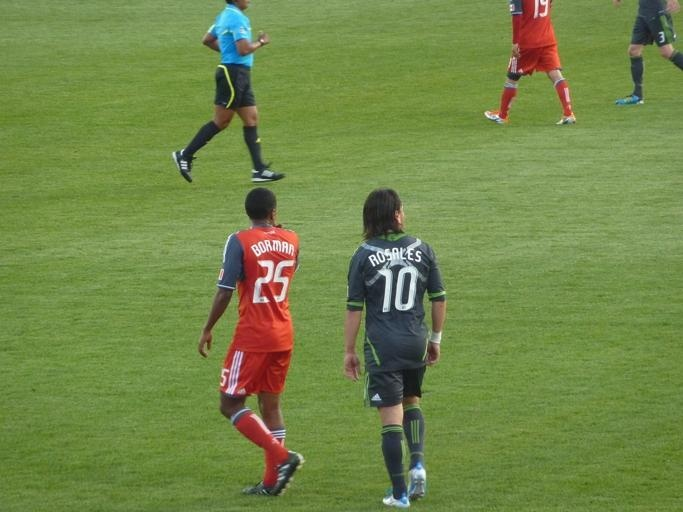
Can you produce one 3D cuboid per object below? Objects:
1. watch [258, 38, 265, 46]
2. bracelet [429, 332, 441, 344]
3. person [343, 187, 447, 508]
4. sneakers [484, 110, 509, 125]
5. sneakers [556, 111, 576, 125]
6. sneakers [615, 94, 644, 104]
[{"bbox_3d":[-0.960,-2.645,20.034,0.026,0.080,0.078,-12,58,-8],"label":"watch"},{"bbox_3d":[0.958,0.776,16.322,0.122,0.116,0.115,-8,20,-42],"label":"bracelet"},{"bbox_3d":[0.498,0.863,16.083,0.819,3.020,0.909,2,15,24],"label":"person"},{"bbox_3d":[2.127,-1.982,22.780,0.364,0.162,0.126,21,18,12],"label":"sneakers"},{"bbox_3d":[3.099,-1.909,22.398,0.153,0.108,0.246,0,2,44],"label":"sneakers"},{"bbox_3d":[4.140,-2.275,23.391,0.425,0.157,0.140,2,6,7],"label":"sneakers"}]
